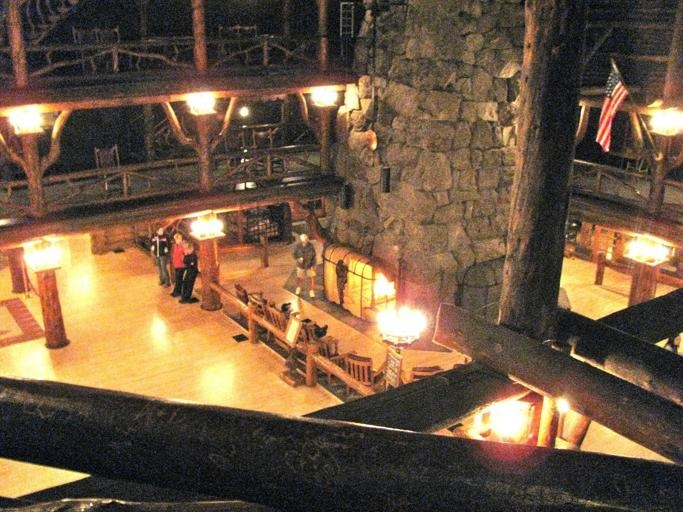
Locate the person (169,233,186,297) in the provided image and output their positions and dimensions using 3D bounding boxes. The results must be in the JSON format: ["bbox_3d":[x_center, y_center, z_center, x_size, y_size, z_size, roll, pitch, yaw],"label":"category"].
[{"bbox_3d":[-4.312,0.260,15.754,0.310,1.329,1.292,0,20,-22],"label":"person"}]

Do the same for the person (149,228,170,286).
[{"bbox_3d":[-5.020,0.004,16.709,0.500,1.179,1.415,5,2,-20],"label":"person"}]

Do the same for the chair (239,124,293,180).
[{"bbox_3d":[-2.497,-3.001,17.765,0.911,1.291,1.127,13,25,10],"label":"chair"}]

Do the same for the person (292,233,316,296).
[{"bbox_3d":[-1.027,0.238,16.229,0.678,1.742,0.540,2,21,4],"label":"person"}]

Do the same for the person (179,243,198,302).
[{"bbox_3d":[-3.959,0.425,15.599,0.385,1.159,0.548,5,2,-14],"label":"person"}]

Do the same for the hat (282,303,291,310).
[{"bbox_3d":[-1.246,1.120,13.345,0.135,0.180,0.138,6,-3,-26],"label":"hat"}]
